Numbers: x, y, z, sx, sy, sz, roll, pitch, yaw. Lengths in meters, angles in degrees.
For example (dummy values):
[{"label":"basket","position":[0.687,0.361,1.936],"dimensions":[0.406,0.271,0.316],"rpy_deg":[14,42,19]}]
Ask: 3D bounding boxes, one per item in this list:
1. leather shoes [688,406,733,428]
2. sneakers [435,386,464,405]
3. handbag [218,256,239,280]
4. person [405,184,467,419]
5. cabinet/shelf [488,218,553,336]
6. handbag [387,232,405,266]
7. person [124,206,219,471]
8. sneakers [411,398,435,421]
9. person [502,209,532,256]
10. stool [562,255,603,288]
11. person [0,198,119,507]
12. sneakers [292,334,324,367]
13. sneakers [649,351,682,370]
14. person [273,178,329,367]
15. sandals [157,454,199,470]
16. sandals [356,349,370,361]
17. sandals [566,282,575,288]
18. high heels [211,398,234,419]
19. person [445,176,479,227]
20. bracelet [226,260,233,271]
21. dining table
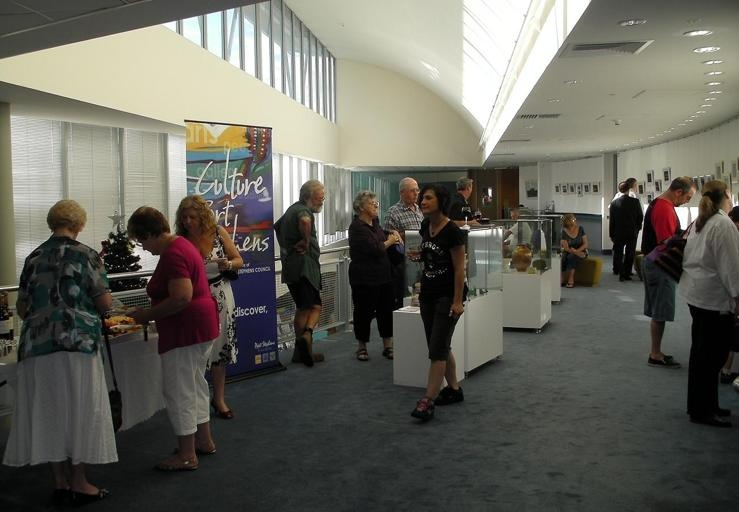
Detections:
[{"label":"leather shoes","position":[3.199,1.537,4.686],"dimensions":[0.243,0.079,0.200],"rpy_deg":[-2,1,14]},{"label":"sneakers","position":[0.841,1.485,5.302],"dimensions":[0.311,0.153,0.142],"rpy_deg":[2,-5,-32]},{"label":"handbag","position":[-1.407,0.132,4.931],"dimensions":[0.229,0.246,0.165],"rpy_deg":[-1,8,-34]},{"label":"person","position":[0.677,0.456,4.994],"dimensions":[0.509,2.289,0.587],"rpy_deg":[0,4,10]},{"label":"cabinet/shelf","position":[2.743,0.324,8.648],"dimensions":[1.147,1.927,1.183],"rpy_deg":[0,-10,25]},{"label":"handbag","position":[0.378,-0.098,7.030],"dimensions":[0.311,0.437,0.155],"rpy_deg":[3,7,8]},{"label":"person","position":[-1.561,0.681,4.051],"dimensions":[0.655,2.144,0.419],"rpy_deg":[-2,4,-20]},{"label":"sneakers","position":[0.512,1.510,4.845],"dimensions":[0.115,0.150,0.335],"rpy_deg":[0,-8,20]},{"label":"person","position":[2.432,-0.290,8.389],"dimensions":[0.502,1.009,0.428],"rpy_deg":[4,-9,21]},{"label":"stool","position":[5.494,0.416,12.550],"dimensions":[0.832,0.661,1.163],"rpy_deg":[2,5,-38]},{"label":"person","position":[-2.262,0.713,3.639],"dimensions":[0.707,2.213,0.387],"rpy_deg":[-3,4,-22]},{"label":"sneakers","position":[-0.866,1.283,6.688],"dimensions":[0.203,0.297,0.699],"rpy_deg":[-1,0,16]},{"label":"sneakers","position":[3.695,1.327,6.281],"dimensions":[0.316,0.132,0.167],"rpy_deg":[-1,3,17]},{"label":"person","position":[-0.885,0.247,6.517],"dimensions":[0.507,2.415,0.450],"rpy_deg":[1,4,31]},{"label":"sandals","position":[-1.552,1.705,4.060],"dimensions":[0.246,0.106,0.141],"rpy_deg":[4,-3,2]},{"label":"sandals","position":[-0.101,1.360,6.776],"dimensions":[0.117,0.116,0.337],"rpy_deg":[0,-2,0]},{"label":"sandals","position":[4.890,0.721,12.210],"dimensions":[0.180,0.115,0.349],"rpy_deg":[1,6,23]},{"label":"high heels","position":[-1.521,1.570,5.092],"dimensions":[0.315,0.135,0.117],"rpy_deg":[-2,-3,43]},{"label":"person","position":[1.546,-0.784,8.046],"dimensions":[0.498,0.925,0.616],"rpy_deg":[9,12,30]},{"label":"bracelet","position":[-1.348,0.090,4.832],"dimensions":[0.026,0.069,0.063],"rpy_deg":[-4,34,-7]},{"label":"dining table","position":[-2.567,1.059,4.862],"dimensions":[1.244,0.825,1.270],"rpy_deg":[-5,4,-9]}]
